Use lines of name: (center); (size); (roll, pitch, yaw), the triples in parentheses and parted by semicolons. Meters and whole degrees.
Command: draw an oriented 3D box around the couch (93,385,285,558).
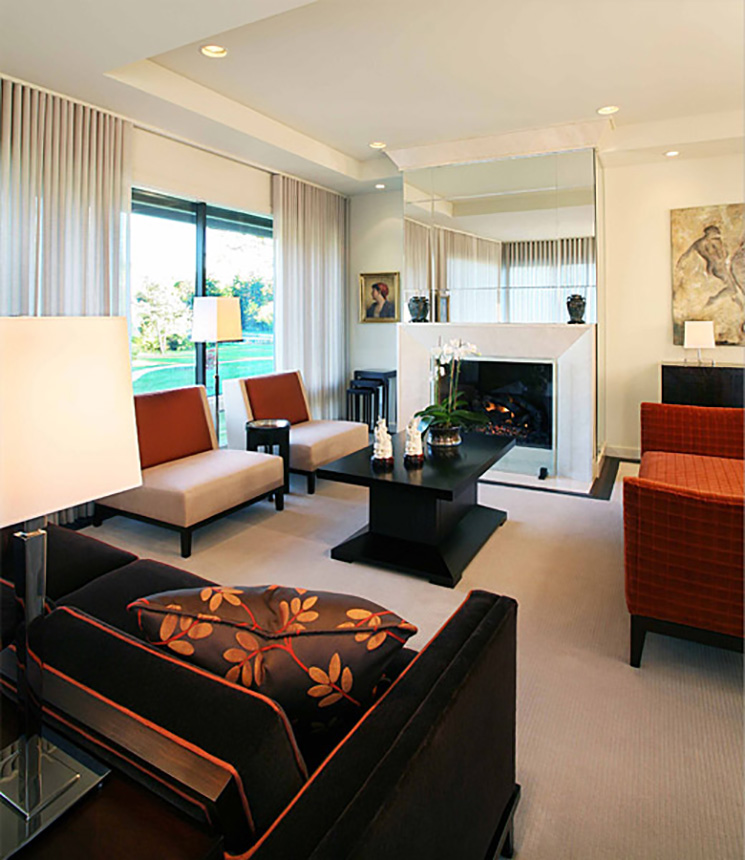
couch: (-1.050, 0.215, 3.691); (0.868, 0.942, 0.966); (3, 7, 26)

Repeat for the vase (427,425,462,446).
vase: (0.424, 0.041, 3.528); (0.120, 0.068, 0.121); (-2, 5, -14)

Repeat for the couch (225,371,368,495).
couch: (-0.492, -0.072, 4.701); (0.870, 0.971, 0.897); (5, 11, 28)

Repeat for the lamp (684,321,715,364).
lamp: (2.522, -0.668, 4.718); (0.231, 0.329, 0.395); (5, 11, 28)

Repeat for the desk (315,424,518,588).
desk: (0.307, 0.394, 3.442); (0.695, 0.542, 1.080); (7, 14, 29)

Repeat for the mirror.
mirror: (1.087, -1.621, 5.026); (1.292, 1.110, 0.052); (4, 5, 33)
